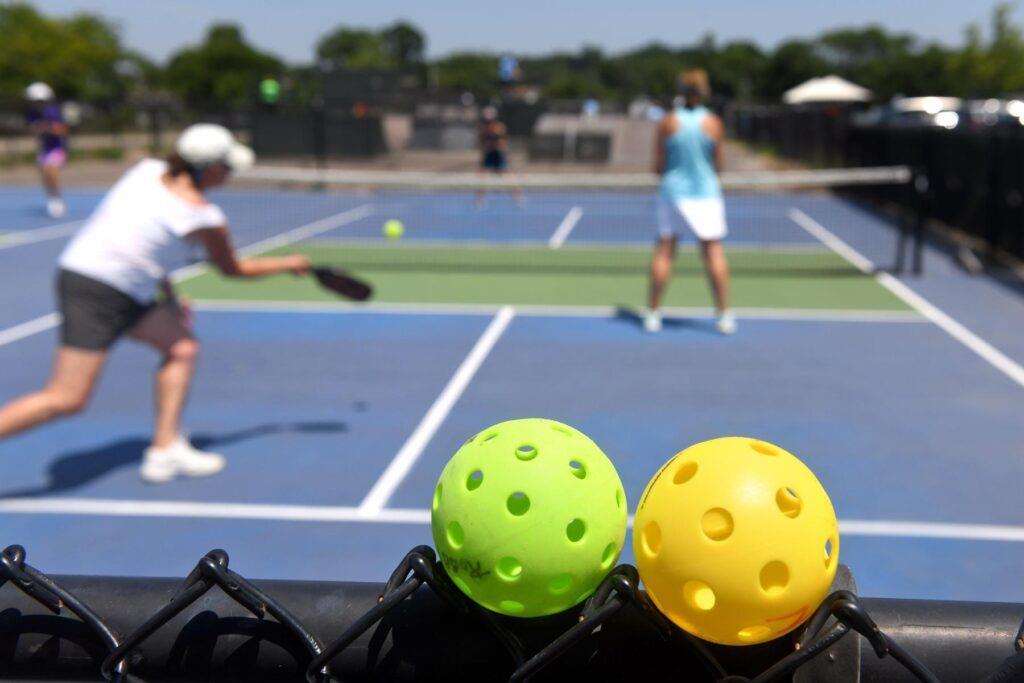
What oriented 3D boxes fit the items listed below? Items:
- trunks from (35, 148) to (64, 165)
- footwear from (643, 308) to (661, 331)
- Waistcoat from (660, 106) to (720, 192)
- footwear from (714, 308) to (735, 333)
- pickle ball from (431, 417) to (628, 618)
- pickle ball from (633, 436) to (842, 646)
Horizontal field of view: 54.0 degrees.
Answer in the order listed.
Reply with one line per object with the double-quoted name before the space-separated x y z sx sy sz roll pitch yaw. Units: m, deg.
"trunks" -7.245 -2.900 15.807 0.263 0.233 0.320 -2 10 -13
"footwear" 1.277 -0.159 9.043 0.128 0.101 0.195 0 61 2
"Waistcoat" 1.527 -1.633 8.583 0.517 0.841 0.422 -1 4 4
"footwear" 1.951 -0.125 9.090 0.112 0.147 0.329 -1 -8 6
"pickle ball" 0.054 0.422 2.290 0.382 0.396 0.421 -18 55 16
"pickle ball" 0.461 0.436 2.082 0.409 0.382 0.208 4 13 17
